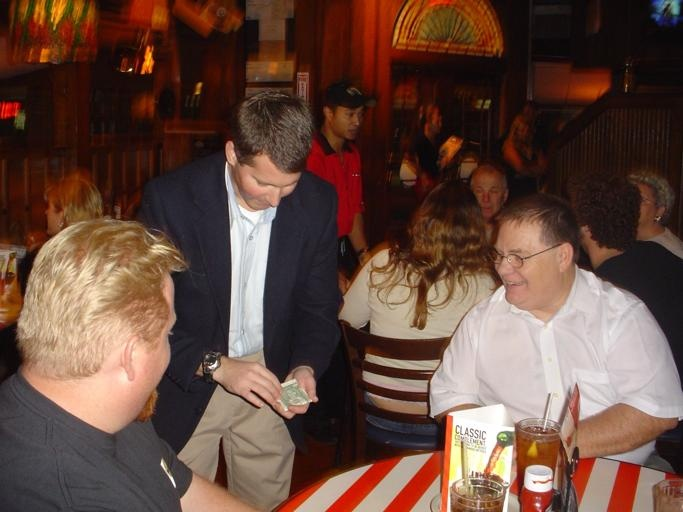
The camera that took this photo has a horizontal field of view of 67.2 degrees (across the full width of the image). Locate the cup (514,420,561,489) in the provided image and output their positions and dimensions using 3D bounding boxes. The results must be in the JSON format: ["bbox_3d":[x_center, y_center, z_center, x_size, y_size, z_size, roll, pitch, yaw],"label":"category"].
[{"bbox_3d":[0.551,0.555,1.406,0.117,0.121,0.183,-14,50,24],"label":"cup"}]

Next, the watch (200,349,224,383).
[{"bbox_3d":[-0.469,0.412,1.922,0.064,0.105,0.110,11,44,10],"label":"watch"}]

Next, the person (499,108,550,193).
[{"bbox_3d":[2.014,-1.157,5.682,0.385,1.064,0.402,4,7,40],"label":"person"}]

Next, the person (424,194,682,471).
[{"bbox_3d":[0.790,0.227,1.900,0.876,0.891,0.483,4,8,10],"label":"person"}]

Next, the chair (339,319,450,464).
[{"bbox_3d":[0.263,0.631,2.420,0.429,0.778,0.530,4,39,9],"label":"chair"}]

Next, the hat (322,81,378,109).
[{"bbox_3d":[0.079,-1.435,4.656,0.461,0.261,0.308,-10,13,17],"label":"hat"}]

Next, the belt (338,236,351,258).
[{"bbox_3d":[0.019,-0.087,4.889,0.058,0.066,0.220,-28,25,20],"label":"belt"}]
